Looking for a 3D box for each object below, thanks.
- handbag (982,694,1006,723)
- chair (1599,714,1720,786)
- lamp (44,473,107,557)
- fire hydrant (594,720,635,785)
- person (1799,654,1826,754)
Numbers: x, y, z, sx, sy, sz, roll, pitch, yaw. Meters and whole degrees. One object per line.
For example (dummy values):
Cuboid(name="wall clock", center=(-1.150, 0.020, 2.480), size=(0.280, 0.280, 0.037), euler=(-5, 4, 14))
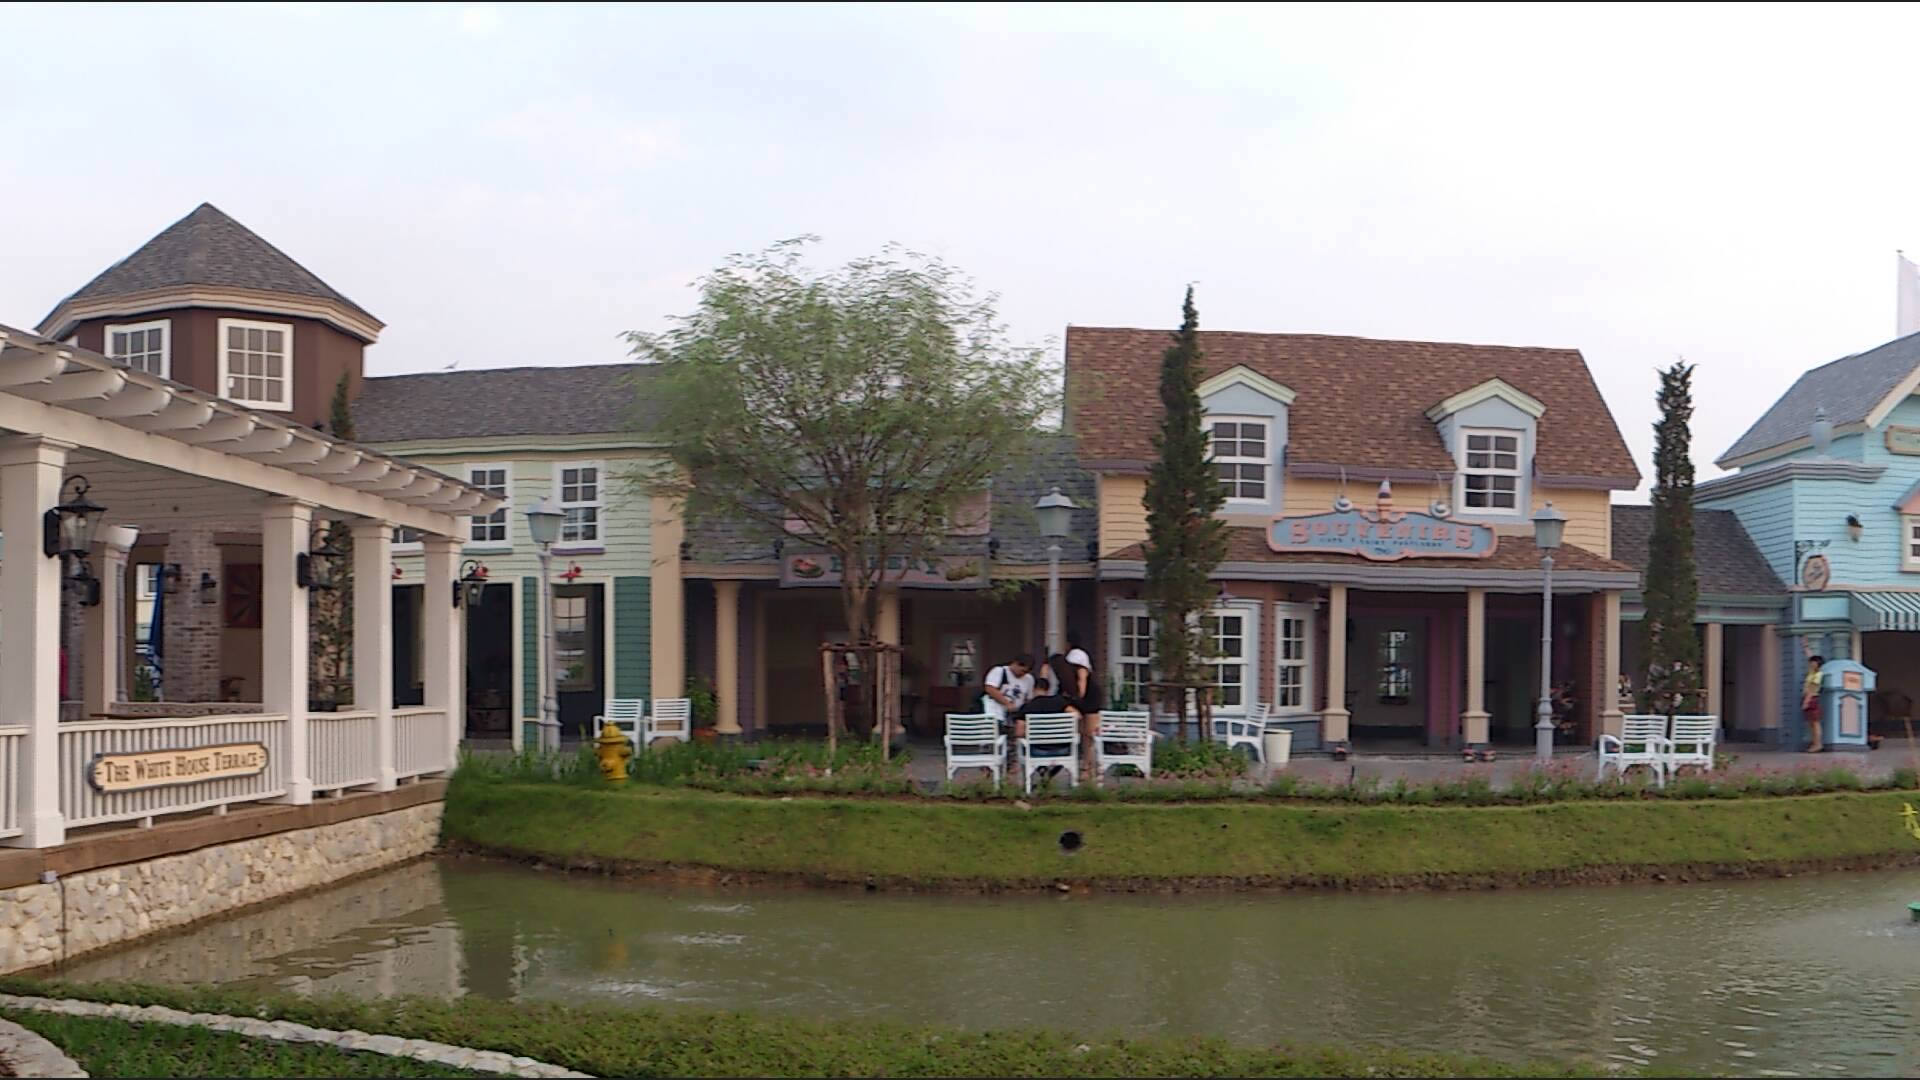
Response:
Cuboid(name="handbag", center=(0.685, 3.061, 44.187), size=(0.497, 0.380, 0.469), euler=(2, -1, -18))
Cuboid(name="chair", center=(13.108, 3.941, 45.173), size=(1.731, 0.765, 0.558), euler=(0, 2, -11))
Cuboid(name="lamp", center=(-13.911, -0.403, 37.773), size=(0.827, 1.530, 2.142), euler=(3, -9, -20))
Cuboid(name="fire hydrant", center=(-6.334, 3.864, 44.221), size=(0.658, 1.165, 1.365), euler=(0, -9, -9))
Cuboid(name="person", center=(18.297, 3.432, 51.718), size=(0.480, 2.038, 0.960), euler=(-5, -11, 18))
